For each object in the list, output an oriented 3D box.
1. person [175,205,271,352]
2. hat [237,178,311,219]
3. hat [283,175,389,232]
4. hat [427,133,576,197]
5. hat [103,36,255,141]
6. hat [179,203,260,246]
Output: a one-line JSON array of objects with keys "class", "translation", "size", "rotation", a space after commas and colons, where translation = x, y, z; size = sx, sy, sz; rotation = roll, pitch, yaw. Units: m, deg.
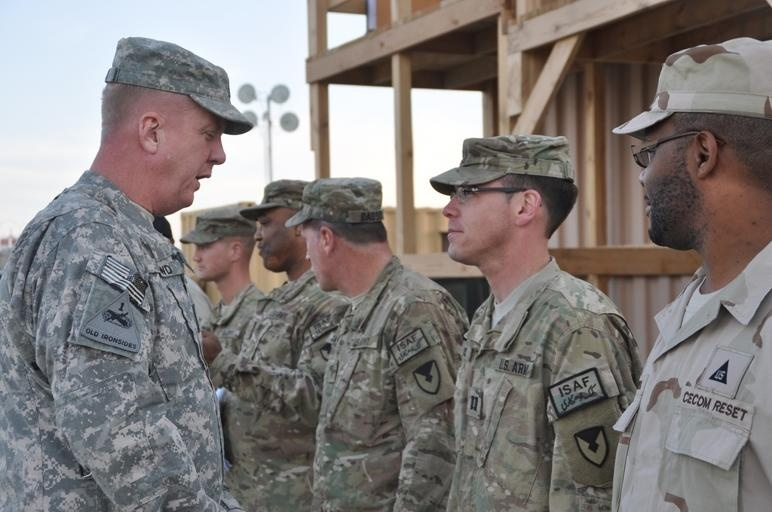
[{"class": "person", "translation": [-1.091, 0.156, 10.497], "size": [0.705, 1.117, 1.157], "rotation": [-2, 17, -15]}, {"class": "hat", "translation": [-0.660, -0.364, 9.452], "size": [0.655, 0.204, 0.408], "rotation": [-4, -3, -18]}, {"class": "hat", "translation": [-0.260, -0.304, 8.487], "size": [0.571, 0.272, 0.429], "rotation": [4, 5, 18]}, {"class": "hat", "translation": [0.587, -0.476, 7.567], "size": [0.736, 0.258, 0.478], "rotation": [-3, 0, 5]}, {"class": "hat", "translation": [-0.952, -0.832, 7.078], "size": [0.800, 0.365, 0.488], "rotation": [9, 1, -1]}, {"class": "hat", "translation": [-1.143, -0.226, 10.529], "size": [0.596, 0.211, 0.442], "rotation": [-9, 11, -41]}]
